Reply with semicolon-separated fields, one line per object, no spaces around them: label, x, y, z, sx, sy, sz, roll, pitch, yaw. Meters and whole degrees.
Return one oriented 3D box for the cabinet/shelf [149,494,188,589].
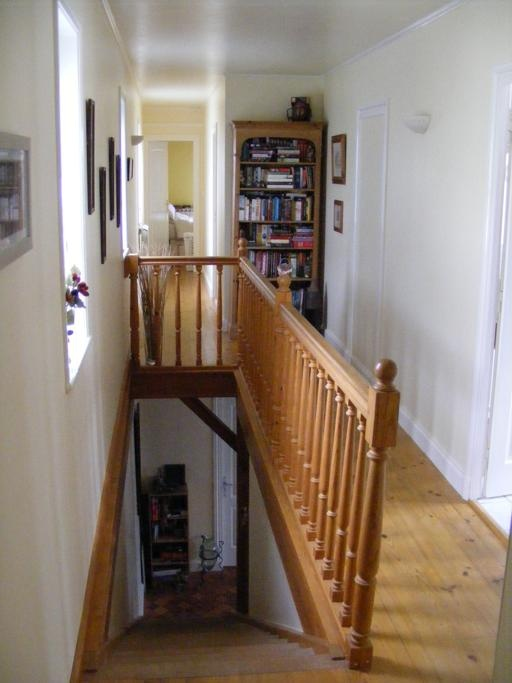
cabinet/shelf;-1.295;2.837;7.969;0.595;1.327;0.394;-1;4;-11

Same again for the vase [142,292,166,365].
vase;-1.005;-0.110;5.225;0.199;0.690;0.492;-1;4;-10

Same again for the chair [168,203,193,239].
chair;-1.795;-2.841;12.836;0.558;1.027;2.825;-1;5;-8
